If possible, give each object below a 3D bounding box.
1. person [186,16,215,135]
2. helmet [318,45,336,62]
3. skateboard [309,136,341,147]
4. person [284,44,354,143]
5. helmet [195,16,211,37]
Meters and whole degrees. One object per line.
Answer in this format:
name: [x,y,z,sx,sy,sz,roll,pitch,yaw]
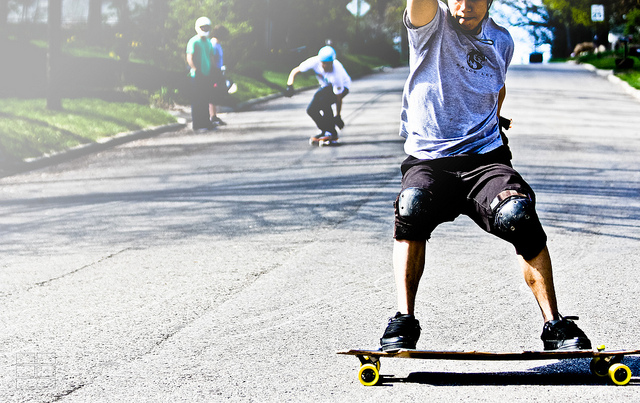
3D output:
person: [-2.752,-2.901,17.463,0.623,2.547,0.993,-3,14,-8]
helmet: [0.115,-2.898,14.942,0.329,0.309,0.486,-1,16,-1]
skateboard: [0.055,-1.196,14.966,0.560,0.178,0.378,0,16,3]
person: [0.068,-2.154,15.156,0.851,1.856,0.937,2,15,12]
helmet: [-2.759,-4.034,17.610,0.405,0.568,0.536,-3,-1,-8]
